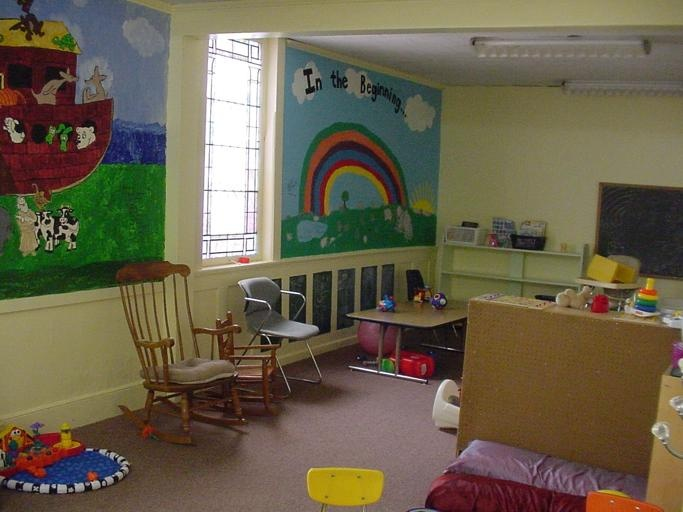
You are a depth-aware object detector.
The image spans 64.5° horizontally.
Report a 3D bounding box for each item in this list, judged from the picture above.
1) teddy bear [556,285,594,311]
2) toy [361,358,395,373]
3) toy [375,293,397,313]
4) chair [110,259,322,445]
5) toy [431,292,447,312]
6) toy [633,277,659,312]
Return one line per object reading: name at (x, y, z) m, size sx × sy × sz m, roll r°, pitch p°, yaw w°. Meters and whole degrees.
teddy bear at (1.948, 0.347, 4.492) m, size 0.312 × 0.143 × 0.194 m, roll -8°, pitch 2°, yaw -31°
toy at (0.431, 1.210, 6.041) m, size 0.312 × 0.158 × 0.142 m, roll 0°, pitch -3°, yaw 15°
toy at (0.541, 0.549, 6.424) m, size 0.208 × 0.228 × 0.195 m, roll -3°, pitch 1°, yaw 0°
chair at (-1.142, 0.774, 5.046) m, size 1.461 × 1.941 × 1.110 m, roll 0°, pitch 2°, yaw 32°
toy at (1.196, 0.559, 6.654) m, size 0.180 × 0.215 × 0.182 m, roll 1°, pitch -2°, yaw 6°
toy at (2.083, 0.269, 3.693) m, size 0.136 × 0.240 × 0.144 m, roll 8°, pitch 11°, yaw 15°
